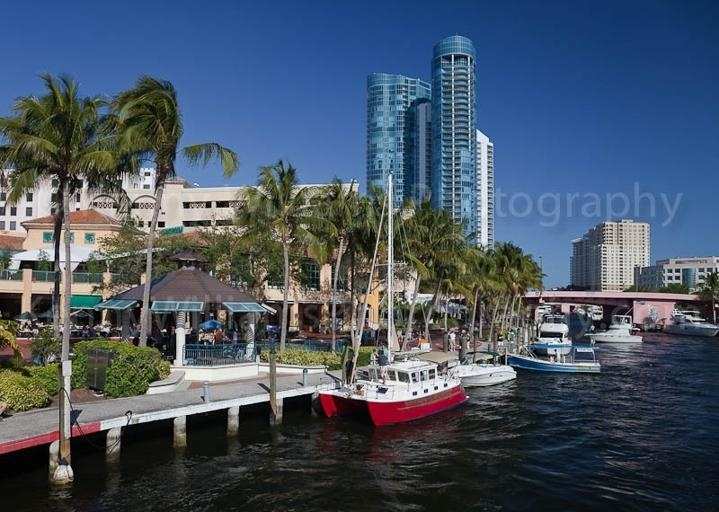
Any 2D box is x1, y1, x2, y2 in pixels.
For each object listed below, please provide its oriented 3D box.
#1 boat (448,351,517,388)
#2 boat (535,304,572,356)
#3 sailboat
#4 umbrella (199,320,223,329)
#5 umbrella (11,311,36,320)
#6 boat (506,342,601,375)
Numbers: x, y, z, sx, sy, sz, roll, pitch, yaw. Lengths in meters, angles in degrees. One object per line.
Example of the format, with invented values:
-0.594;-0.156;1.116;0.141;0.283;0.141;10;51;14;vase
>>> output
10.688;10.160;53.975;6.761;2.566;3.008;-3;3;-40;boat
27.089;10.098;90.991;6.701;7.129;19.497;1;2;18;boat
2.723;2.765;42.007;6.942;15.383;9.488;7;10;27;sailboat
-10.757;5.032;47.116;1.047;0.435;1.089;1;-4;-4;umbrella
-29.617;5.410;58.236;1.303;0.532;1.415;0;-3;-10;umbrella
18.571;10.046;63.041;8.191;2.637;2.550;1;-6;6;boat
